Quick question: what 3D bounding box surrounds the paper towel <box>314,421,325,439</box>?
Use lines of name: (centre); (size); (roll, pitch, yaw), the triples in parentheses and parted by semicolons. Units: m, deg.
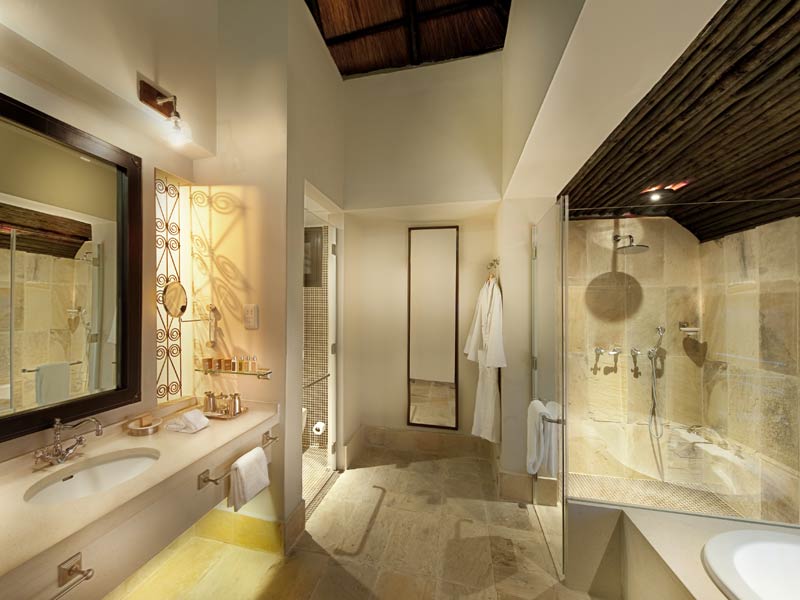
paper towel: (-0.630, 1.006, 4.136); (0.093, 0.099, 0.033); (20, -12, -42)

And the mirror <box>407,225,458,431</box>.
mirror: (0.289, 0.245, 4.682); (0.450, 1.557, 0.073); (-1, 0, 17)

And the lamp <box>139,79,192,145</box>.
lamp: (-1.383, -1.145, 3.147); (0.116, 0.211, 0.301); (6, -1, 4)

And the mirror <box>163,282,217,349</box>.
mirror: (-1.329, 0.097, 3.421); (0.274, 0.422, 0.268); (1, 1, 5)

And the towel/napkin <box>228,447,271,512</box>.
towel/napkin: (-0.879, 1.027, 3.098); (0.114, 0.349, 0.314); (-1, 0, 28)

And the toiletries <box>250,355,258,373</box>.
toiletries: (-0.950, 0.413, 3.456); (0.044, 0.098, 0.019); (-1, 0, 11)

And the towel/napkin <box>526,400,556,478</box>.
towel/napkin: (0.950, 0.960, 3.612); (0.144, 0.442, 0.462); (-1, 0, -1)
